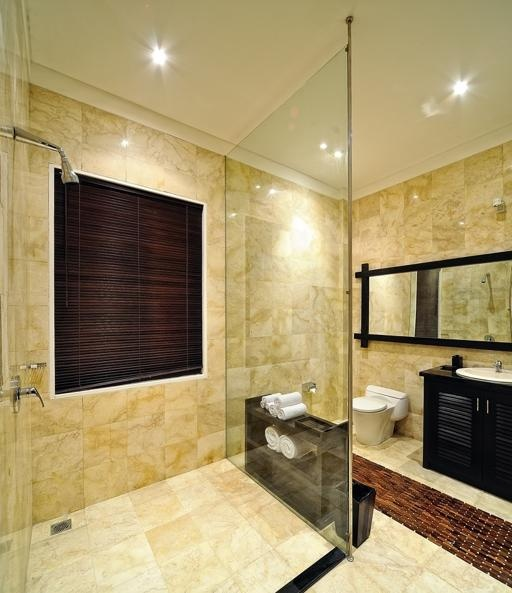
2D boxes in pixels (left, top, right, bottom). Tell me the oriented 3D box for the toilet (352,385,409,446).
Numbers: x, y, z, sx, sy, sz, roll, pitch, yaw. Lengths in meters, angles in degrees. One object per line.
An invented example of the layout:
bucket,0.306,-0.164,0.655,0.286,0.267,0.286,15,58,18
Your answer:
toilet,1.053,1.049,3.659,0.507,0.468,0.385,-6,4,-29

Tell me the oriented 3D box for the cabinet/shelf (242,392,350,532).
cabinet/shelf,0.248,0.961,2.409,0.220,0.674,0.686,-6,9,-32

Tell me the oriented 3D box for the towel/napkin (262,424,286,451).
towel/napkin,0.106,0.872,2.573,0.029,0.137,0.123,-3,7,-36
